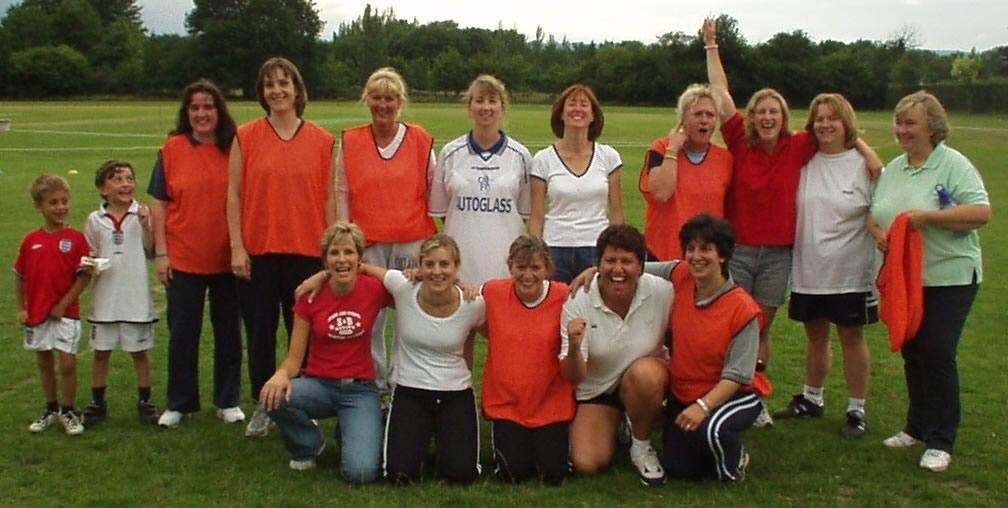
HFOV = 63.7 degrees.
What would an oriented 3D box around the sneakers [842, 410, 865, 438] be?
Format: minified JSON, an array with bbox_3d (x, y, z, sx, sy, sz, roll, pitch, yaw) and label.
[{"bbox_3d":[4.838,2.338,11.211,0.256,0.326,0.208,2,6,18],"label":"sneakers"}]

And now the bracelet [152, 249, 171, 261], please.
[{"bbox_3d":[-4.848,0.002,11.435,0.279,0.115,0.092,5,7,38],"label":"bracelet"}]

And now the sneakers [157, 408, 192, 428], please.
[{"bbox_3d":[-4.655,2.330,11.476,0.183,0.161,0.401,5,-4,32],"label":"sneakers"}]

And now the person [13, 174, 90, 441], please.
[{"bbox_3d":[-6.245,0.689,11.241,1.065,3.517,0.704,0,6,-4],"label":"person"}]

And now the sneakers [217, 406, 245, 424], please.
[{"bbox_3d":[-3.873,2.304,11.569,0.382,0.152,0.193,-2,9,12],"label":"sneakers"}]

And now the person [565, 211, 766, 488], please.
[{"bbox_3d":[2.748,1.224,10.685,1.301,3.450,0.757,2,6,10],"label":"person"}]

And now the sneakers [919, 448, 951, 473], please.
[{"bbox_3d":[5.689,2.696,10.631,0.460,0.264,0.161,-1,6,-10],"label":"sneakers"}]

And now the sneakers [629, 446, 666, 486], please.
[{"bbox_3d":[1.883,2.764,10.636,0.301,0.223,0.599,-9,28,-18],"label":"sneakers"}]

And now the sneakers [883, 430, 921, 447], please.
[{"bbox_3d":[5.384,2.503,10.985,0.455,0.158,0.201,2,-3,6],"label":"sneakers"}]

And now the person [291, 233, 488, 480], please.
[{"bbox_3d":[-0.896,1.371,10.733,1.314,3.171,0.772,0,6,-3],"label":"person"}]

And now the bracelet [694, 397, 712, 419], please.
[{"bbox_3d":[2.580,1.988,10.523,0.087,0.221,0.197,-46,44,-13],"label":"bracelet"}]

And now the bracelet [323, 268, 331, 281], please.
[{"bbox_3d":[-2.359,0.265,10.881,0.105,0.106,0.112,-5,47,-11],"label":"bracelet"}]

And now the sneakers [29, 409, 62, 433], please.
[{"bbox_3d":[-6.322,2.293,11.306,0.503,0.202,0.195,-22,34,-38],"label":"sneakers"}]
